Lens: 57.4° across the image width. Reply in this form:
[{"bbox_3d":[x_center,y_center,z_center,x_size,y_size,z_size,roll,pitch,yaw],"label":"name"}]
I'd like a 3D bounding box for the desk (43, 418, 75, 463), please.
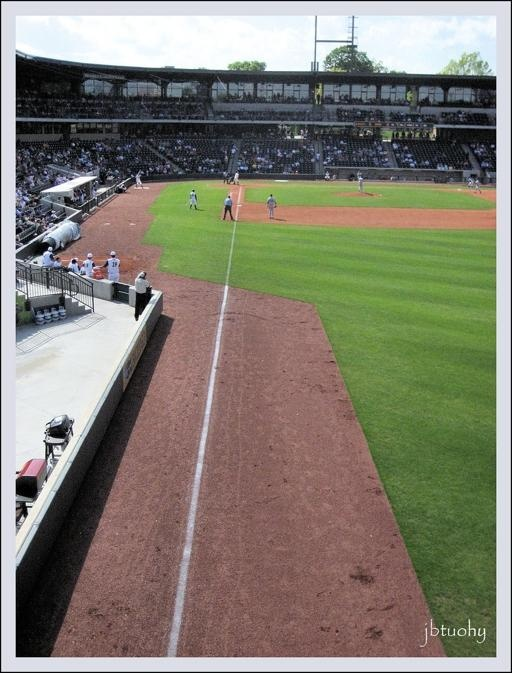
[{"bbox_3d":[-3.784,1.899,8.911,0.501,0.629,1.030,-7,14,-20],"label":"desk"}]

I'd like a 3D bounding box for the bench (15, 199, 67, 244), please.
[{"bbox_3d":[-13.845,-7.282,29.744,2.127,1.544,5.406,15,32,-8],"label":"bench"}]
